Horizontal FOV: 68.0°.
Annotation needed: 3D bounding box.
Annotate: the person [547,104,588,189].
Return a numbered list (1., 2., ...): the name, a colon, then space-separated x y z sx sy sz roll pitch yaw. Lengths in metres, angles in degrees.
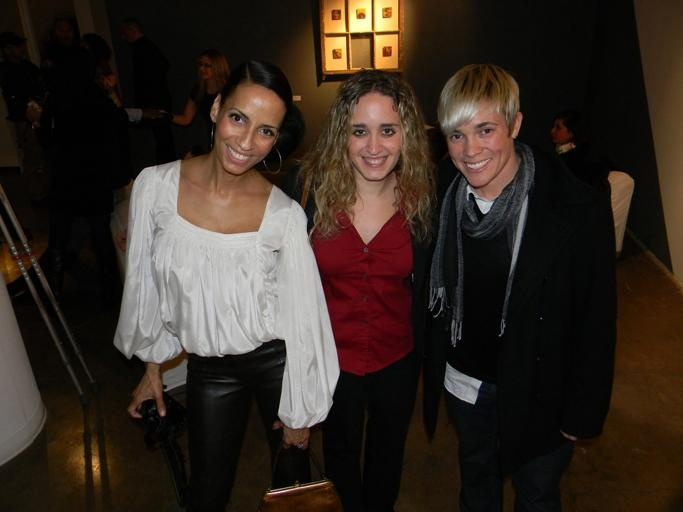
1. person: 2.422 -1.139 5.406 0.341 0.758 0.795 8 4 11

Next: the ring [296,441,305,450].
1. ring: -0.216 0.994 2.670 0.042 0.025 0.059 3 8 -1

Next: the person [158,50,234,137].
1. person: -1.448 -1.690 5.464 0.631 1.082 0.597 6 14 19

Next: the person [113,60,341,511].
1. person: -0.580 0.164 2.516 0.981 2.117 0.693 -11 19 -28
